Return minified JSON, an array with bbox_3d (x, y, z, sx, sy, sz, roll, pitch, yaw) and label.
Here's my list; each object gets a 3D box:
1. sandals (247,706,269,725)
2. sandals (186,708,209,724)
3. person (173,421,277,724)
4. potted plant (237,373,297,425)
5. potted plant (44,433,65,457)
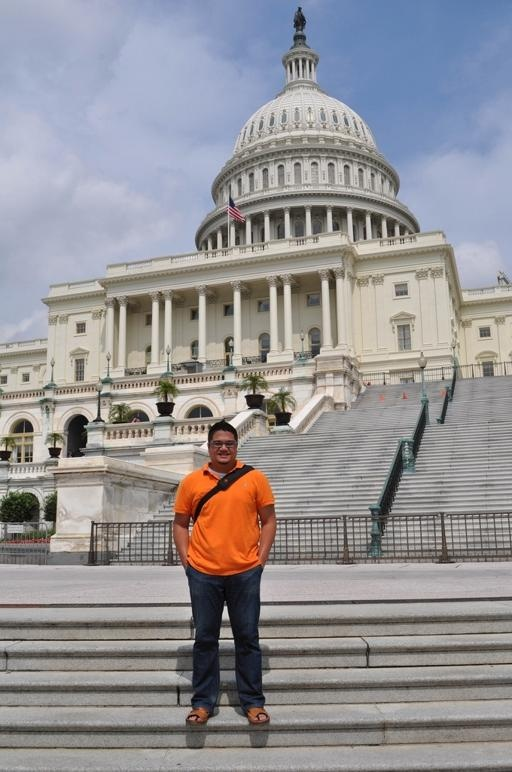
[{"bbox_3d":[0.024,1.840,4.432,0.133,0.097,0.140,-1,-6,-9],"label":"sandals"},{"bbox_3d":[-0.324,1.847,4.463,0.128,0.095,0.191,-2,-6,-3],"label":"sandals"},{"bbox_3d":[-0.168,1.054,4.681,0.594,1.699,0.415,-1,-6,-6],"label":"person"},{"bbox_3d":[0.393,0.320,36.193,1.557,2.311,3.522,-3,-21,22],"label":"potted plant"},{"bbox_3d":[-11.374,3.320,45.044,1.331,1.770,1.262,0,-14,-5],"label":"potted plant"}]
